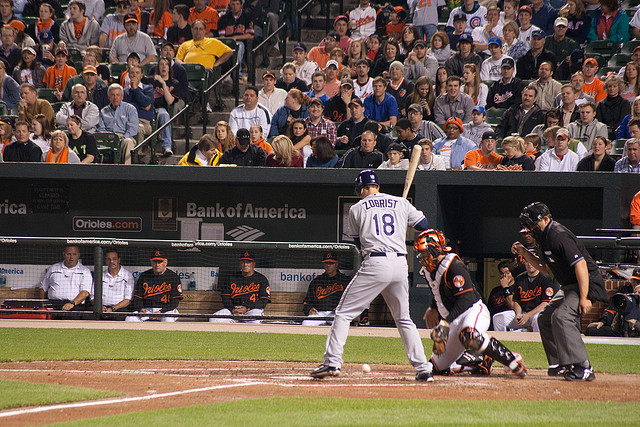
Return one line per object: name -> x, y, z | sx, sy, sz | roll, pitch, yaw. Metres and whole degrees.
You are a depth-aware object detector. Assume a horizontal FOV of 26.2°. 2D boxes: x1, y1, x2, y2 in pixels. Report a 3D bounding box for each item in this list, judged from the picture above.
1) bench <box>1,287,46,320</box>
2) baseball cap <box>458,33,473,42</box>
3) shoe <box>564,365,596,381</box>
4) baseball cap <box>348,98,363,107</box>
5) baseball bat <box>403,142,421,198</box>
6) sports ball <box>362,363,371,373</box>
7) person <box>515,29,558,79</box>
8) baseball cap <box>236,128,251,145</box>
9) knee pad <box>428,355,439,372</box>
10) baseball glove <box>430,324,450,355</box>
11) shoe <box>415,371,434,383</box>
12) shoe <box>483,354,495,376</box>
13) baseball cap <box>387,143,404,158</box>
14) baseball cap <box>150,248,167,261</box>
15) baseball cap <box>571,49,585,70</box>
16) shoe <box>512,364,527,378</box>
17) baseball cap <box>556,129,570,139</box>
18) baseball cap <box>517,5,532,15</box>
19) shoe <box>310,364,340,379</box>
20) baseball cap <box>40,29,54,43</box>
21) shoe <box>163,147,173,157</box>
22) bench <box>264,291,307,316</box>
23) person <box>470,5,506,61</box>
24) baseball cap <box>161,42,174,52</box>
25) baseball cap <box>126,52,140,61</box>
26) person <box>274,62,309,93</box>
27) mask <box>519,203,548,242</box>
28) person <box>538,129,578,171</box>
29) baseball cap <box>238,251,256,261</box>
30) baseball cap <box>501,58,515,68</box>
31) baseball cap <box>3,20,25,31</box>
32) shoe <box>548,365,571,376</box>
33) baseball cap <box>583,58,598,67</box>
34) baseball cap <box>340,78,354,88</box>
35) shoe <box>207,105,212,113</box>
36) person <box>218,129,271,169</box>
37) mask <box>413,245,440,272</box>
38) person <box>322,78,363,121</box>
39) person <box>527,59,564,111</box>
bench -> -5.873, 1.773, 27.216 | 0.690, 0.279, 0.723 | 1, 2, -7
baseball cap -> 3.188, -3.867, 30.155 | 0.223, 0.198, 0.365 | 3, 5, 21
shoe -> 4.222, 2.607, 22.561 | 0.420, 0.210, 0.225 | 0, 1, -6
baseball cap -> 0.709, -2.274, 28.139 | 0.296, 0.218, 0.454 | 2, -4, 1
baseball bat -> 1.707, -0.790, 25.567 | 0.158, 1.227, 0.131 | 24, -14, -34
sports ball -> 0.759, 2.566, 22.805 | 0.123, 0.160, 0.129 | -14, 1, 0
person -> 4.614, -3.339, 29.660 | 0.824, 1.291, 0.704 | 5, 1, 13
baseball cap -> -1.540, -1.536, 27.320 | 0.194, 0.172, 0.320 | -8, 35, -17
knee pad -> 1.842, 2.489, 22.857 | 0.167, 0.268, 0.227 | 5, -5, -42
baseball glove -> 1.940, 2.021, 22.640 | 0.268, 0.661, 0.186 | 13, -5, -15
shoe -> 1.689, 2.639, 22.270 | 0.126, 0.164, 0.318 | -1, 7, -25
shoe -> 2.786, 2.495, 22.825 | 0.197, 0.313, 0.294 | 1, -35, 26
baseball cap -> 1.480, -1.281, 27.236 | 0.219, 0.156, 0.287 | 9, -16, 47
baseball cap -> -3.236, 0.820, 27.433 | 0.337, 0.244, 0.531 | 2, -4, -7
baseball cap -> 5.477, -3.293, 29.289 | 0.262, 0.389, 0.370 | -15, 5, -9
shoe -> 3.274, 2.601, 22.543 | 0.203, 0.177, 0.214 | 42, -8, 7
baseball cap -> 4.734, -1.558, 26.956 | 0.231, 0.200, 0.294 | 1, -4, 10
baseball cap -> 4.572, -4.574, 30.806 | 0.294, 0.288, 0.586 | 1, -4, 8
shoe -> 0.082, 2.542, 22.258 | 0.513, 0.204, 0.283 | 2, 29, 0
baseball cap -> -6.500, -4.200, 32.568 | 0.295, 0.347, 0.288 | 3, -4, -13
shoe -> -3.209, -1.296, 28.995 | 0.201, 0.184, 0.191 | 4, -5, -34
bench -> -0.690, 1.794, 27.461 | 0.720, 0.507, 0.169 | -2, -12, 3
person -> 3.743, -4.142, 31.071 | 0.732, 1.389, 1.242 | 1, -4, 5
baseball cap -> -3.441, -3.768, 30.909 | 0.272, 0.237, 0.463 | 2, -4, -4
baseball cap -> -4.150, -3.515, 30.555 | 0.217, 0.179, 0.221 | -4, 0, -28
person -> -0.653, -2.967, 29.980 | 1.014, 0.640, 0.436 | 14, 22, 26
mask -> 3.524, 0.173, 22.944 | 0.468, 0.598, 0.437 | -3, 9, 20
person -> 4.828, -1.315, 27.208 | 0.581, 0.795, 1.086 | 2, -15, 9
baseball cap -> -1.458, 0.834, 27.285 | 0.289, 0.191, 0.353 | 2, -4, -4
baseball cap -> 3.919, -3.169, 28.849 | 0.260, 0.252, 0.309 | 1, -4, 8
baseball cap -> -7.403, -4.559, 33.206 | 0.412, 0.242, 0.270 | 24, 19, -14
shoe -> 3.903, 2.574, 22.569 | 0.395, 0.146, 0.163 | -11, -20, 28
baseball cap -> 5.608, -3.153, 28.595 | 0.268, 0.240, 0.384 | 1, -4, 11
baseball cap -> 0.563, -2.766, 28.805 | 0.258, 0.206, 0.445 | 1, -6, 2
shoe -> -2.441, -2.305, 30.239 | 0.099, 0.195, 0.279 | 2, -4, -3
person -> -1.564, -1.285, 27.642 | 0.727, 1.224, 0.430 | 0, 6, -2
mask -> 1.733, 0.729, 22.599 | 0.376, 0.436, 0.244 | -2, -5, 42
person -> 0.414, -2.354, 28.828 | 0.664, 0.919, 0.455 | 0, 22, -2
person -> 4.646, -2.665, 28.623 | 1.091, 1.048, 0.373 | 12, 21, 33
